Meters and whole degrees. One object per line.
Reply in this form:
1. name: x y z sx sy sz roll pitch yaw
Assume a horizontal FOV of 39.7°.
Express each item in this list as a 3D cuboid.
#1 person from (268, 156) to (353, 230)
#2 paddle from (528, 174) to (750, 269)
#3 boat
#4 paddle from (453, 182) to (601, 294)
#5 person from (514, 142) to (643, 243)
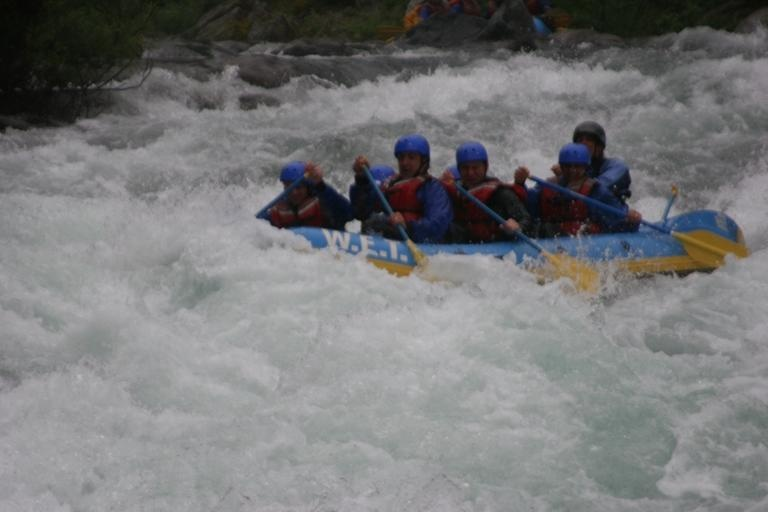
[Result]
1. person: -0.935 -0.720 13.068 0.683 0.907 0.987 30 39 29
2. paddle: 3.294 -0.410 13.902 2.631 0.411 0.219 23 47 -5
3. boat: 1.767 -0.136 13.300 5.634 0.871 1.748 1 9 -15
4. paddle: 1.724 -0.189 13.014 2.132 0.370 0.164 38 25 18
5. person: 2.462 -0.731 13.703 1.058 0.632 1.710 2 -13 32
